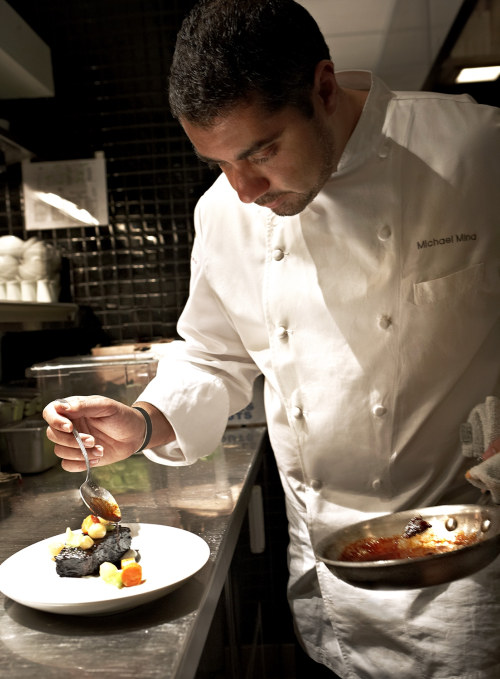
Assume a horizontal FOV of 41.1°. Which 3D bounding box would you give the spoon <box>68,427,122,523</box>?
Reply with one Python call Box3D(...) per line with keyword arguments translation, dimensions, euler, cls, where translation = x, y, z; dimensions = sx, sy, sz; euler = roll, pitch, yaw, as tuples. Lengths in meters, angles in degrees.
Box3D(translation=(-0.289, 0.222, 1.184), dimensions=(0.037, 0.197, 0.061), euler=(-37, -20, 21), cls="spoon")
